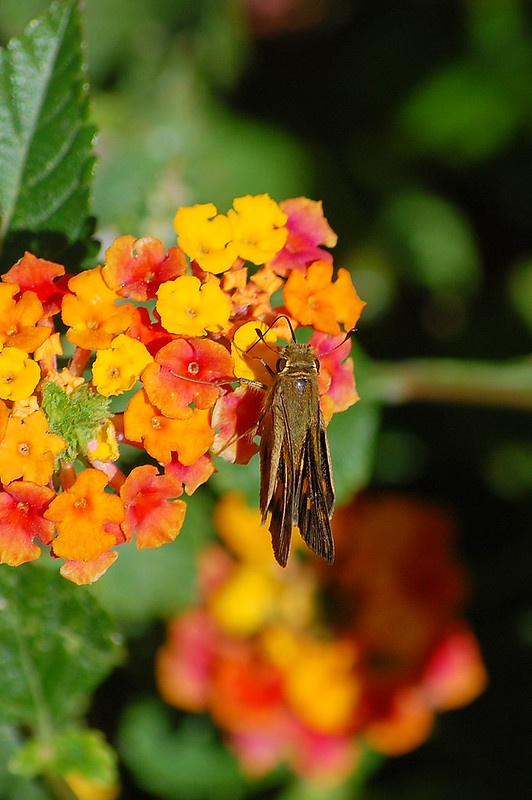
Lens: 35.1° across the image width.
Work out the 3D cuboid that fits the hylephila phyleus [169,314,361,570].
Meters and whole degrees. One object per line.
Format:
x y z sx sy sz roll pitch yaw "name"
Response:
-0.046 0.063 1.313 0.133 0.358 0.318 -1 17 35 "hylephila phyleus"
